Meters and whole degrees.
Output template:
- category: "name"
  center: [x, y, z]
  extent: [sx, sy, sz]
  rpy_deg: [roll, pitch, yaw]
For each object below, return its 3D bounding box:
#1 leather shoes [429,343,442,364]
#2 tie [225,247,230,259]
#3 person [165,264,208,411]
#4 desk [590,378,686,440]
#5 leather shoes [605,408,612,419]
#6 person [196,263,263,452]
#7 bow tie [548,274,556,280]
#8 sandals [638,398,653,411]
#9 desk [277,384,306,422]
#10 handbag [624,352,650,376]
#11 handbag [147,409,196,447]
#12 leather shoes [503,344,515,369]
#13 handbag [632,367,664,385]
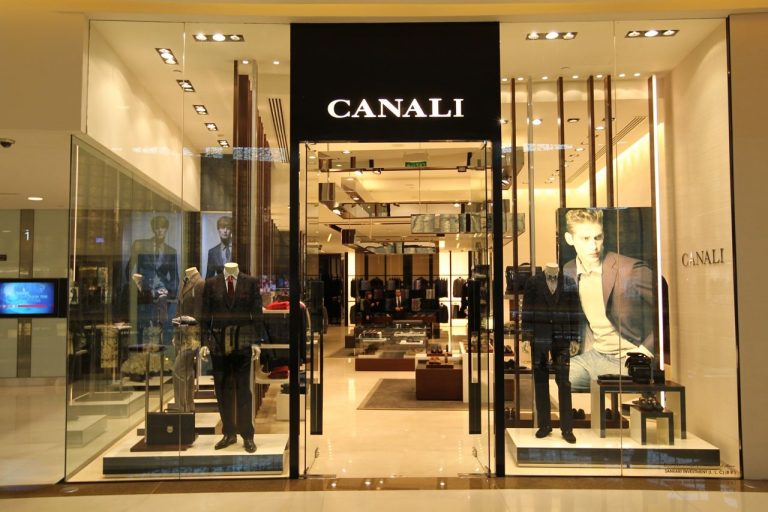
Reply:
- category: "leather shoes"
  center: [0.803, 1.525, 11.092]
  extent: [0.251, 0.327, 0.249]
  rpy_deg: [-1, -3, 3]
- category: "tie"
  center: [-1.691, -0.028, 7.746]
  extent: [0.065, 0.144, 0.031]
  rpy_deg: [-1, 9, -6]
- category: "person"
  center: [-2.115, 0.893, 7.716]
  extent: [0.318, 1.507, 0.287]
  rpy_deg: [-1, 9, -5]
- category: "desk"
  center: [2.837, 1.697, 7.953]
  extent: [0.902, 0.524, 0.509]
  rpy_deg: [-2, -6, 5]
- category: "leather shoes"
  center: [2.432, 1.707, 7.690]
  extent: [0.074, 0.132, 0.073]
  rpy_deg: [3, -10, -1]
- category: "person"
  center: [-1.670, 1.086, 7.699]
  extent: [0.624, 1.997, 0.399]
  rpy_deg: [-1, 9, -6]
- category: "bow tie"
  center: [1.821, 0.227, 7.793]
  extent: [0.064, 0.059, 0.015]
  rpy_deg: [2, -3, -3]
- category: "sandals"
  center: [2.826, 1.606, 7.757]
  extent: [0.128, 0.056, 0.174]
  rpy_deg: [1, -4, 16]
- category: "desk"
  center: [-0.995, 1.574, 7.936]
  extent: [0.347, 0.446, 0.449]
  rpy_deg: [0, -2, -5]
- category: "handbag"
  center: [2.753, 1.177, 7.789]
  extent: [0.281, 0.273, 0.216]
  rpy_deg: [0, -1, 0]
- category: "handbag"
  center: [-2.315, 1.784, 7.782]
  extent: [0.610, 0.392, 0.360]
  rpy_deg: [1, -1, -2]
- category: "leather shoes"
  center: [1.372, 1.096, 7.773]
  extent: [0.133, 0.270, 0.042]
  rpy_deg: [-2, 9, -11]
- category: "handbag"
  center: [2.836, 1.284, 7.787]
  extent: [0.229, 0.152, 0.228]
  rpy_deg: [1, -5, 10]
